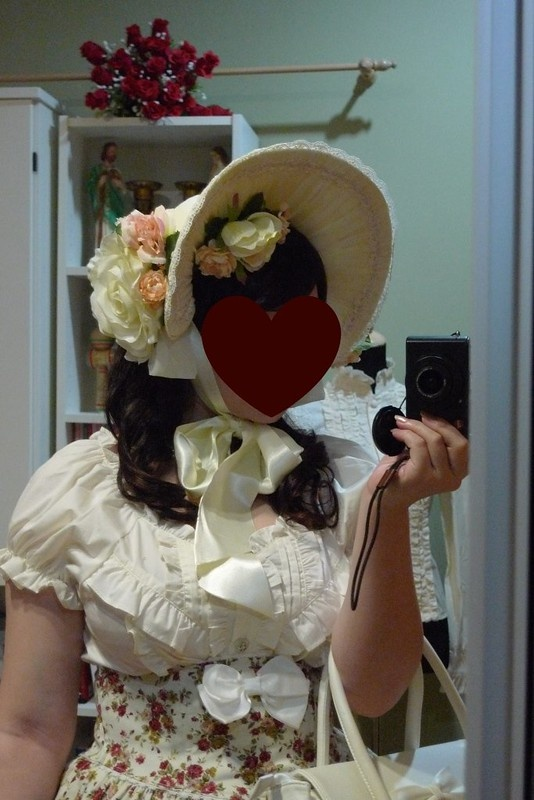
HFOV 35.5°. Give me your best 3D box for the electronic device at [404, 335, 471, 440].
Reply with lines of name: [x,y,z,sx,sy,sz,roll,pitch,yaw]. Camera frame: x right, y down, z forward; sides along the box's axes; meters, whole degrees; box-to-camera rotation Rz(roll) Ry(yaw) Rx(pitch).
electronic device: [0.146,-0.012,0.715,0.060,0.089,0.058,7,12,13]

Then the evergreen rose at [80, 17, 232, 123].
evergreen rose: [-0.249,-0.650,1.769,0.295,0.191,0.264,1,11,-23]
